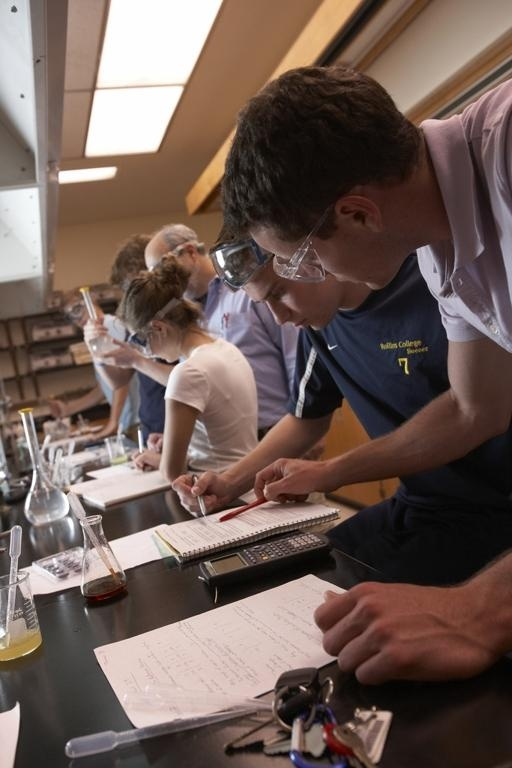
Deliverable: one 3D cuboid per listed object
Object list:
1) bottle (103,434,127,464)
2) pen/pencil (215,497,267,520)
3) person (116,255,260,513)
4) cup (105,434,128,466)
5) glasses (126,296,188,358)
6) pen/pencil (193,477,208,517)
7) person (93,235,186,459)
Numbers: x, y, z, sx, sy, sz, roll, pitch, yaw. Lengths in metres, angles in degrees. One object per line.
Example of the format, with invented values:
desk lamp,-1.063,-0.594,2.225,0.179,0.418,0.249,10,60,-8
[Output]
bottle,-0.661,0.304,2.684,0.084,0.115,0.081,-21,-22,-9
pen/pencil,-0.039,0.298,1.370,0.096,0.014,0.014,-28,31,-18
person,-0.322,0.085,2.201,0.456,1.073,0.563,-9,21,-41
cup,-0.649,0.307,2.653,0.082,0.142,0.079,-20,-16,-6
glasses,-0.342,-0.208,2.133,0.172,0.073,0.213,-41,16,51
pen/pencil,-0.140,0.284,1.431,0.015,0.102,0.015,-13,-6,4
person,-0.684,-0.046,3.109,0.327,1.031,0.297,-8,42,0
